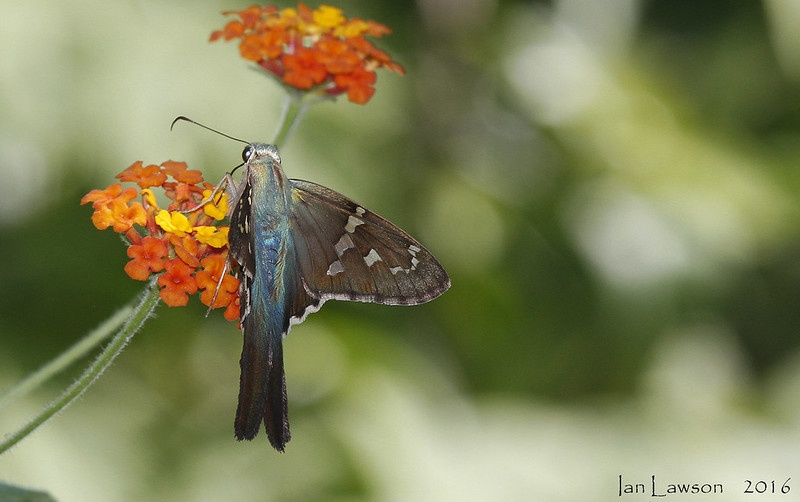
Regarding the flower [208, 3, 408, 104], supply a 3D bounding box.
[{"bbox_3d":[-0.373,-0.841,3.527,0.776,0.307,0.355,18,42,17],"label":"flower"}]
